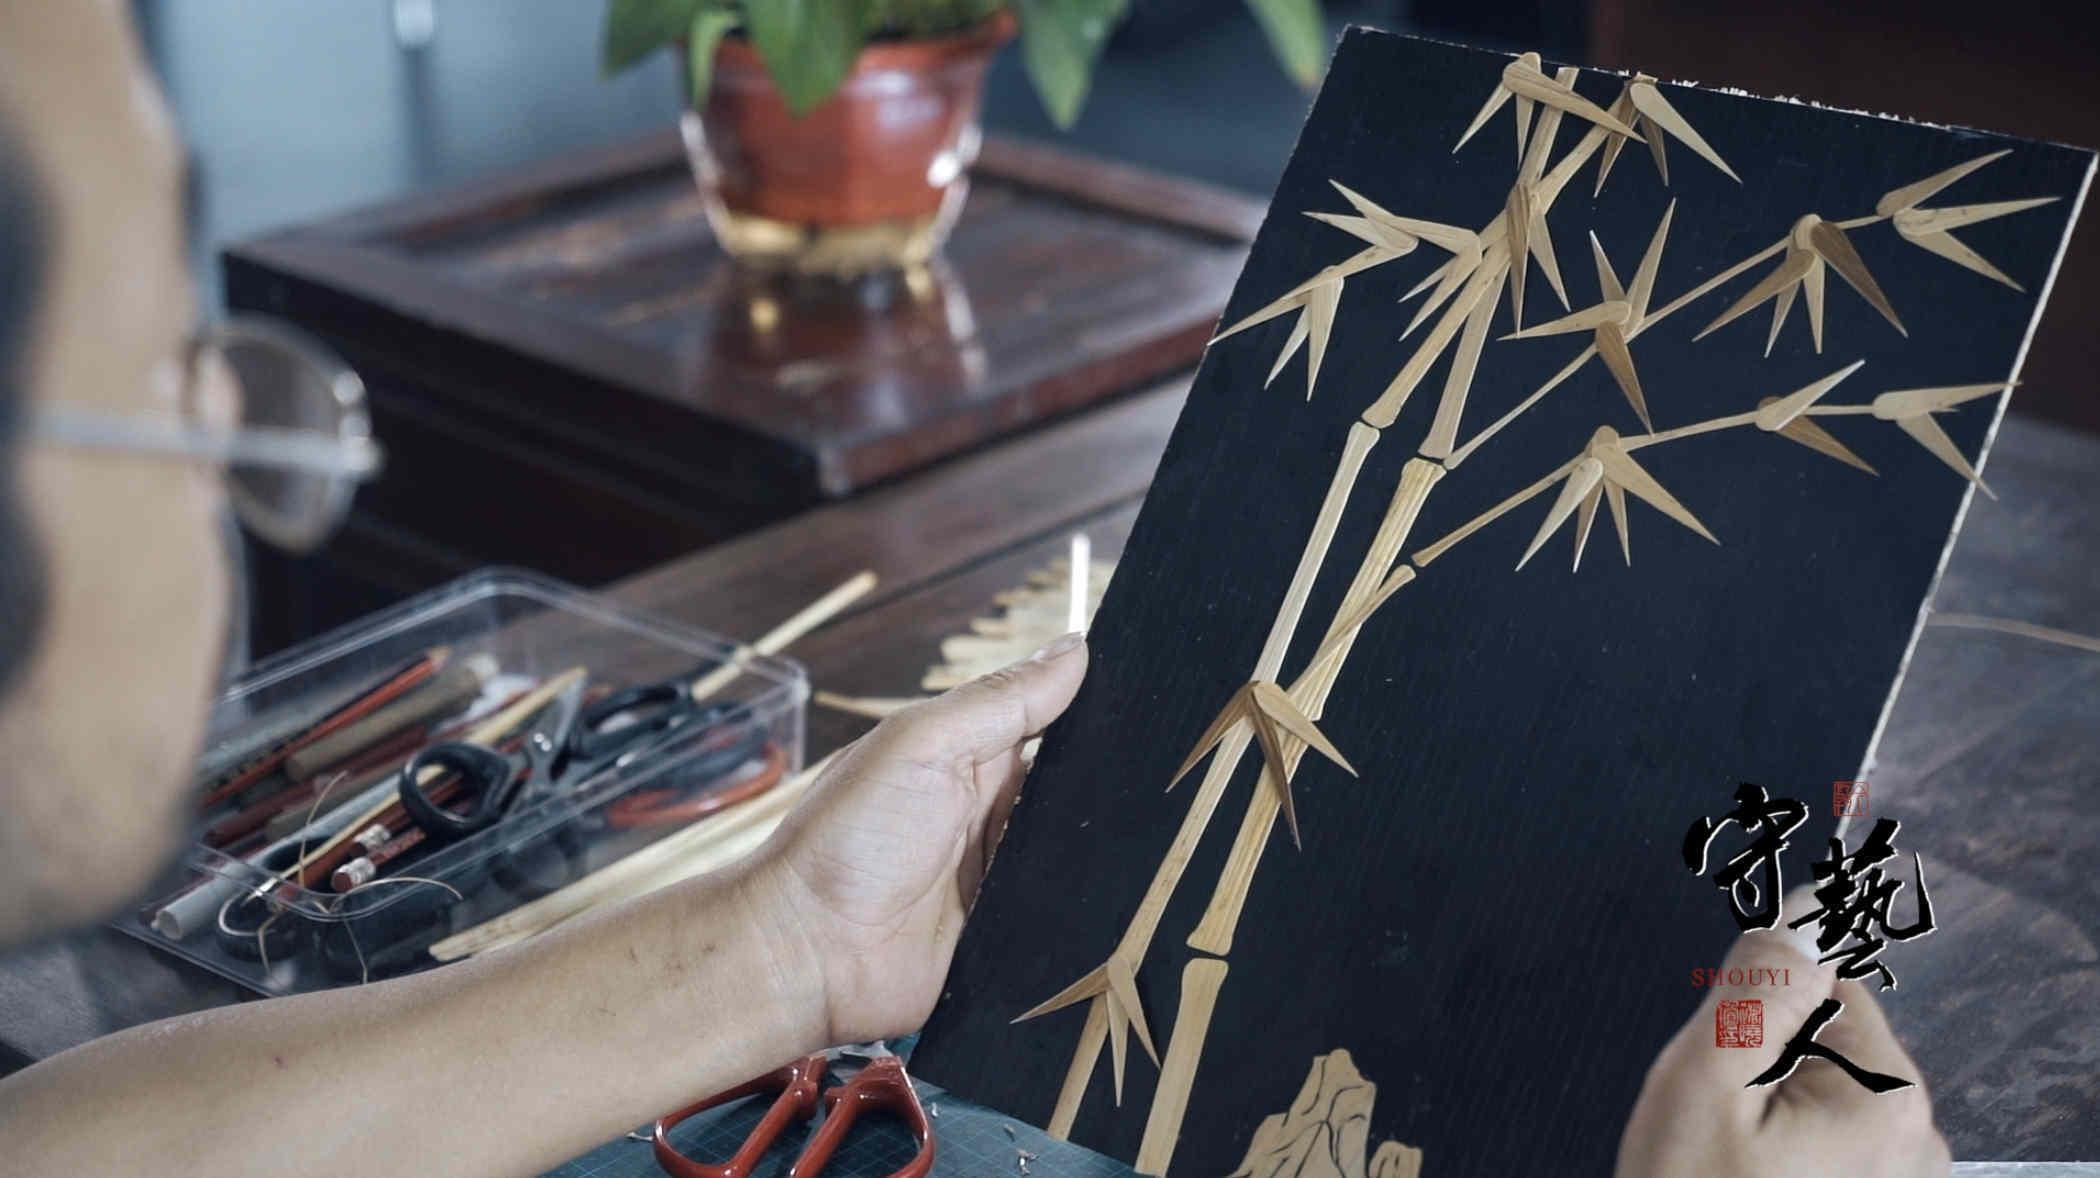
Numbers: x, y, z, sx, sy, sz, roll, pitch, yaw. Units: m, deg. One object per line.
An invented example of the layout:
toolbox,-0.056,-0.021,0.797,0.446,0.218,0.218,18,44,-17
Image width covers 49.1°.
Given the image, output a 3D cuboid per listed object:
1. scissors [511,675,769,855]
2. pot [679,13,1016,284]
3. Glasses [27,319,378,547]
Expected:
scissors,-0.259,0.109,1.527,0.083,0.038,0.116,18,32,30
pot,-0.166,-0.365,1.941,0.212,0.166,0.225,-2,18,1
Glasses,-0.485,-0.088,1.371,0.109,0.058,0.143,29,17,35
